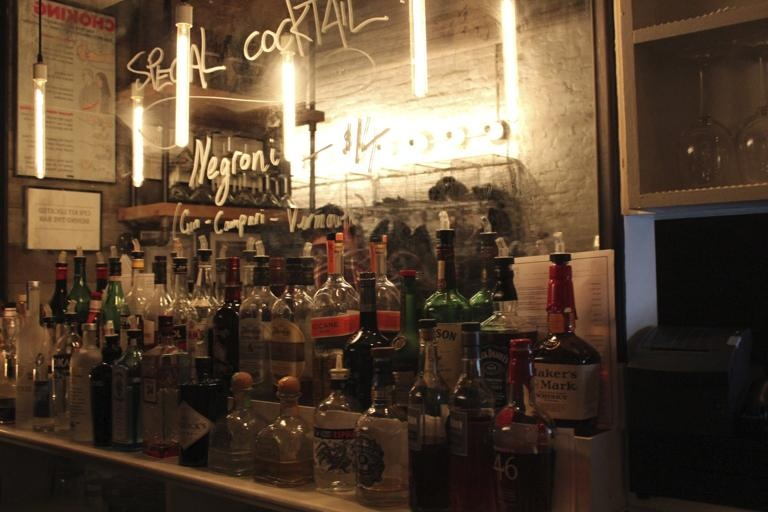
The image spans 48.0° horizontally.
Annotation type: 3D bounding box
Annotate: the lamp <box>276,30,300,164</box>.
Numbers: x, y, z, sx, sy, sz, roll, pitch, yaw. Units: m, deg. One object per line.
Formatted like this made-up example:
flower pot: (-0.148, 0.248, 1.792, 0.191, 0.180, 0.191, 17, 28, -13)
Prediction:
lamp: (-0.383, -0.631, 3.437, 0.029, 0.515, 0.099, 0, -2, -44)

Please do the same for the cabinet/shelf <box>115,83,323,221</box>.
cabinet/shelf: (-0.687, -0.403, 3.765, 0.851, 0.485, 0.475, -1, 3, -7)

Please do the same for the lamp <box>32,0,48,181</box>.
lamp: (-1.640, -0.803, 4.110, 0.067, 0.873, 0.210, -1, -1, -22)

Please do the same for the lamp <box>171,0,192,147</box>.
lamp: (-0.847, -0.767, 3.659, 0.085, 0.584, 0.322, -1, -1, -13)
